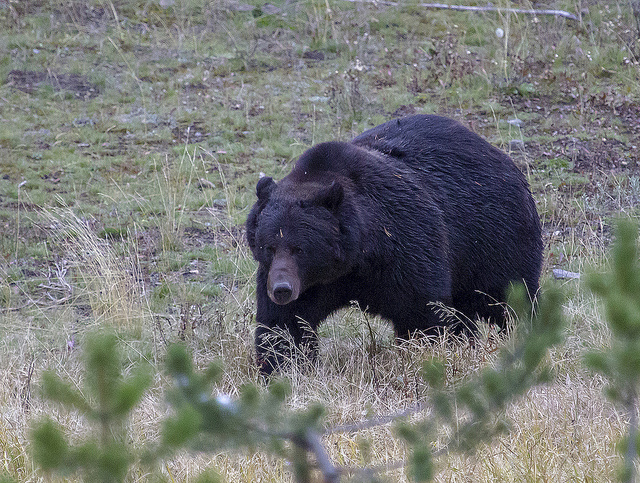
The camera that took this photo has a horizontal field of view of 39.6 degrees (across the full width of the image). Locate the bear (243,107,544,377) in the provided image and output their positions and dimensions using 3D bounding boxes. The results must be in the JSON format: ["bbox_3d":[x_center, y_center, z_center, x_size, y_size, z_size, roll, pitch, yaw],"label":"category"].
[{"bbox_3d":[0.665,0.155,8.209,3.254,2.514,1.749,-7,6,-44],"label":"bear"}]
